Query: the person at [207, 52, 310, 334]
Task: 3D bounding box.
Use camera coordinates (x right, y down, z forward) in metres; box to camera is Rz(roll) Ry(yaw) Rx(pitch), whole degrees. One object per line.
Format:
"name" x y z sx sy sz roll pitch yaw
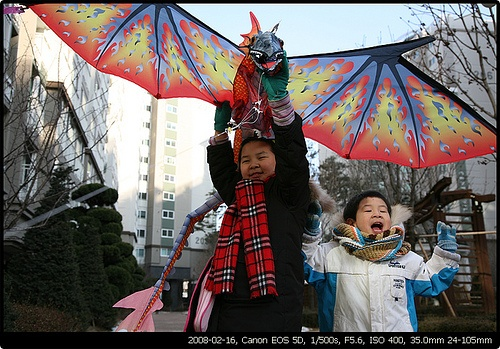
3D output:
"person" 0.161 0.193 4.716 0.829 2.619 0.618 1 1 8

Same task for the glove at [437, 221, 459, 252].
"glove" 2.141 0.683 5.200 0.200 0.349 0.348 1 1 22

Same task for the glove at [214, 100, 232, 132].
"glove" -0.311 -0.650 5.335 0.227 0.326 0.100 -2 -2 43

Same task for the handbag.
"handbag" -0.534 1.215 4.736 0.154 0.641 0.344 9 -9 -2

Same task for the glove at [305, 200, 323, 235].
"glove" 0.673 0.472 5.079 0.221 0.323 0.320 1 -27 5

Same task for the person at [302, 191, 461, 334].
"person" 1.387 1.022 5.317 1.639 1.461 0.539 0 1 -2
